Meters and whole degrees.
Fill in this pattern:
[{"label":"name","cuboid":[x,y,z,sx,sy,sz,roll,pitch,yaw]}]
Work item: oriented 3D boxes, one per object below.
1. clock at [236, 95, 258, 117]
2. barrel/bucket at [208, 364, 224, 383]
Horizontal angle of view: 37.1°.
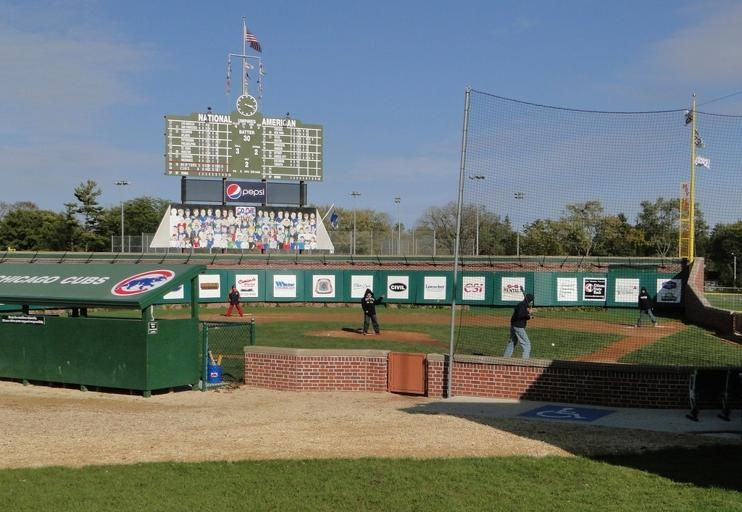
[{"label":"clock","cuboid":[-7.930,-9.641,70.540,1.131,1.505,1.187,0,0,-1]},{"label":"barrel/bucket","cuboid":[-5.450,4.070,38.561,0.567,0.610,0.574,1,-6,0]}]
